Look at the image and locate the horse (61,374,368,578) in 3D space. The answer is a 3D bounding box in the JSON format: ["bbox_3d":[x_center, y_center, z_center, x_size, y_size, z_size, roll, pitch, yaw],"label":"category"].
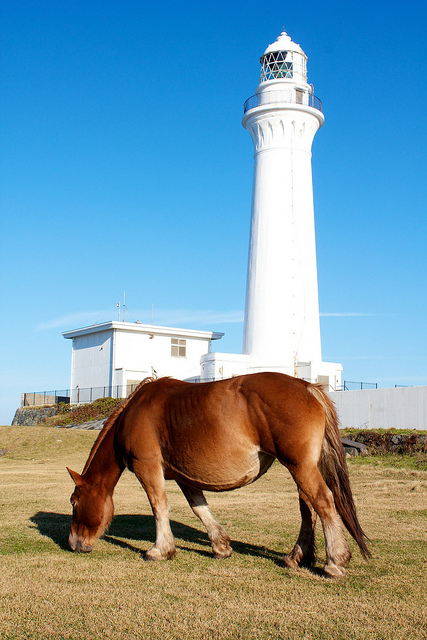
[{"bbox_3d":[-0.077,1.533,6.615,3.103,2.055,0.886,-5,-4,14],"label":"horse"}]
